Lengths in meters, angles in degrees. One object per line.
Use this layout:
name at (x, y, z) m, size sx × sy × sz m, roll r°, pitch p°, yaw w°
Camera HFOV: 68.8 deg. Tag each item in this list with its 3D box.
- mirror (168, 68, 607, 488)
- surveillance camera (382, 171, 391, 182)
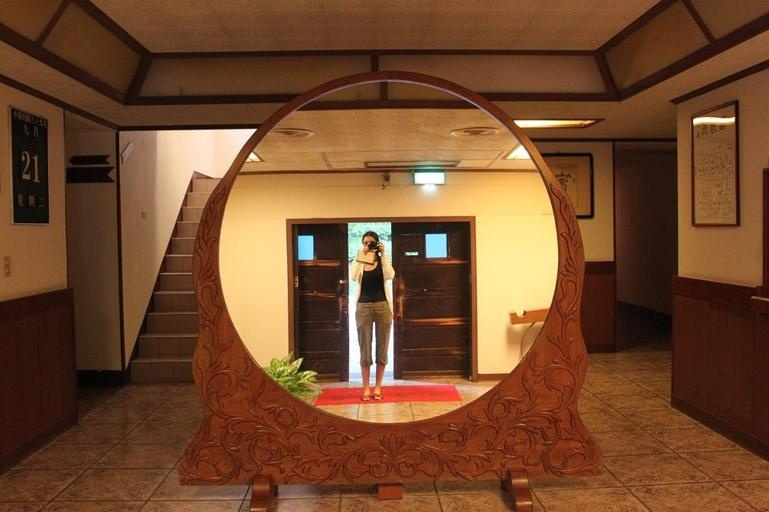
mirror at (0.016, 0.157, 3.896) m, size 3.570 × 3.152 × 0.613 m, roll -1°, pitch 3°, yaw 1°
surveillance camera at (0.014, -0.533, 3.703) m, size 0.057 × 0.079 × 0.049 m, roll 0°, pitch -8°, yaw -4°
